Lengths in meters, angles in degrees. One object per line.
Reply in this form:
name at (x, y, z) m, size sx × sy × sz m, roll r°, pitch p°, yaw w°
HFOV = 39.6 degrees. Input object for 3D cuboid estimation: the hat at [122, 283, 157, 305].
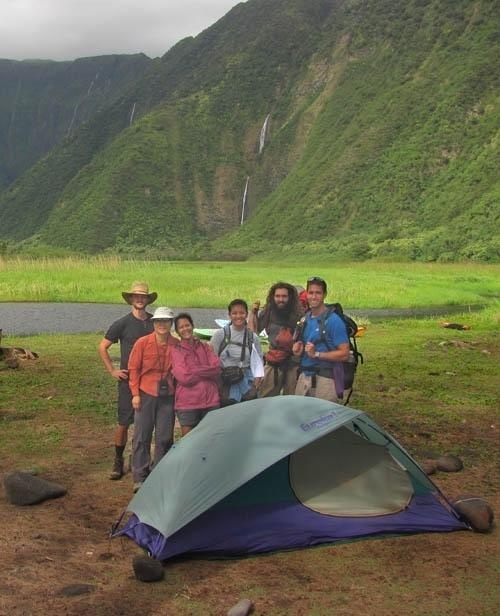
hat at (-1.411, -0.257, 8.862) m, size 0.413 × 0.165 × 0.429 m, roll 2°, pitch -16°, yaw -9°

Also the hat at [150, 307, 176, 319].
hat at (-1.054, 0.061, 8.212) m, size 0.217 × 0.089 × 0.204 m, roll -1°, pitch -6°, yaw 19°

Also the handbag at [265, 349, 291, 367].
handbag at (0.348, 0.659, 9.287) m, size 0.211 × 0.249 × 0.291 m, roll 4°, pitch -3°, yaw 33°

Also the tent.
tent at (0.379, 1.562, 7.333) m, size 2.595 × 0.796 × 1.845 m, roll -1°, pitch -6°, yaw -18°

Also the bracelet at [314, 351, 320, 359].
bracelet at (0.801, 0.558, 8.401) m, size 0.052 × 0.063 × 0.073 m, roll -1°, pitch 12°, yaw -3°

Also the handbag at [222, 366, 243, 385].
handbag at (-0.225, 0.811, 8.451) m, size 0.325 × 0.251 × 0.188 m, roll -1°, pitch 2°, yaw -7°

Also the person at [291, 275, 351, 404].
person at (0.905, 0.387, 8.534) m, size 0.639 × 1.519 × 0.858 m, roll 2°, pitch 10°, yaw -9°
